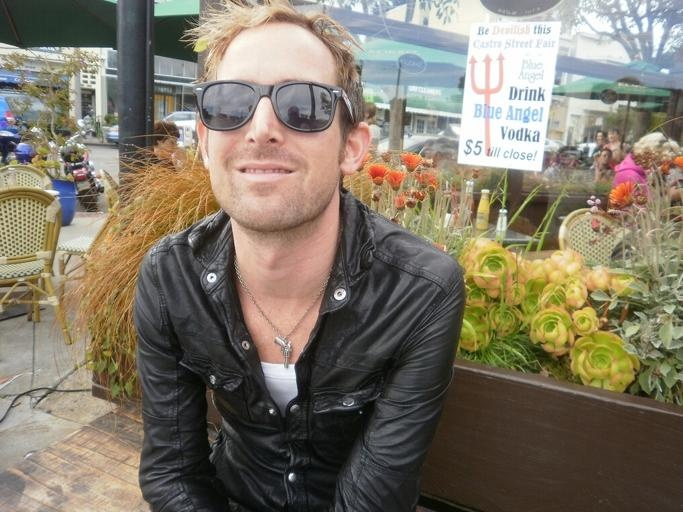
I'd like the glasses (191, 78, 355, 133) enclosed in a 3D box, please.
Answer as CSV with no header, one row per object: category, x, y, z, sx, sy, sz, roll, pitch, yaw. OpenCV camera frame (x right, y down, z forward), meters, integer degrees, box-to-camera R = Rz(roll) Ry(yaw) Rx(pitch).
glasses,-0.261,-0.501,1.509,0.497,0.175,0.130,6,14,10

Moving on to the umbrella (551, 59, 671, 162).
umbrella,2.009,-1.095,3.347,0.582,0.371,0.530,-7,13,-32
